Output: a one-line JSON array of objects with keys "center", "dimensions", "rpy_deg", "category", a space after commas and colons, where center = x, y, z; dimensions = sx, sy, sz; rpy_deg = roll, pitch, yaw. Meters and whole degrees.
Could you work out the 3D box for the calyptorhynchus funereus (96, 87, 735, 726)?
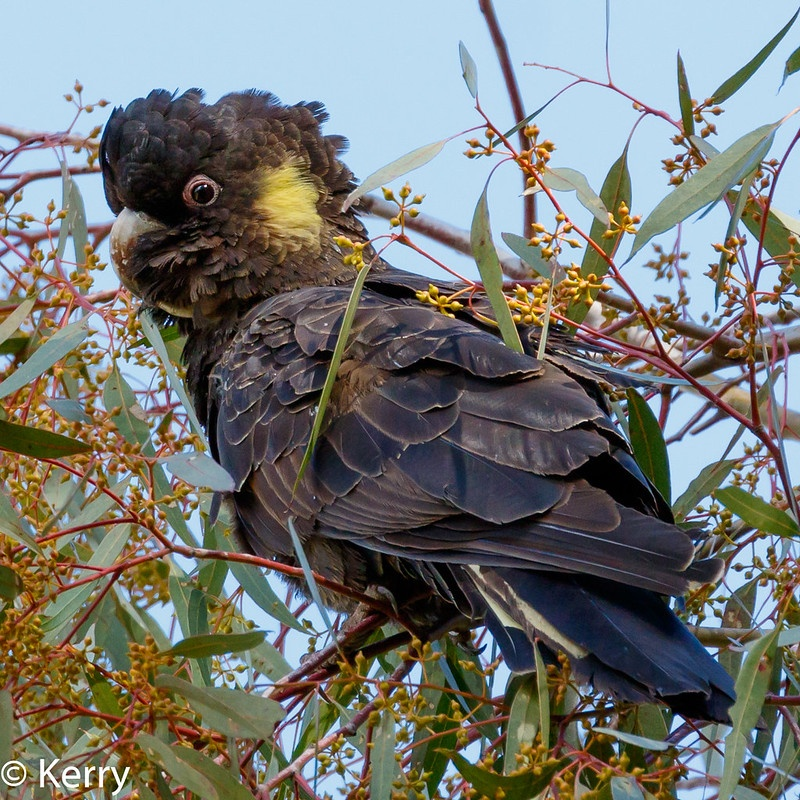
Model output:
[{"center": [0.053, -0.046, 4.234], "dimensions": [1.732, 0.591, 1.238], "rpy_deg": [9, -77, 46], "category": "calyptorhynchus funereus"}]
